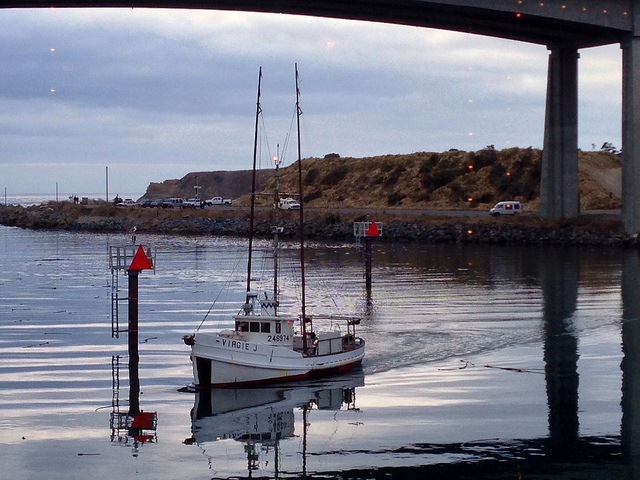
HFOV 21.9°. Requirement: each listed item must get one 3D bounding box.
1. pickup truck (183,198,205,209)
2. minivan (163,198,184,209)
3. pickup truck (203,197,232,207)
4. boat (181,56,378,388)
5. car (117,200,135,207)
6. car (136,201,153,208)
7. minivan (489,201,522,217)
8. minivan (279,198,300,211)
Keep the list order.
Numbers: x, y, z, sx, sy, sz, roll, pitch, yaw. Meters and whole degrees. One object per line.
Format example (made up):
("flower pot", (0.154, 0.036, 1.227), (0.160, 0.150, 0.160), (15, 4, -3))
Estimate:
("pickup truck", (-14.843, -4.358, 196.870), (1.322, 0.877, 2.117), (-2, -4, 27))
("minivan", (-16.829, -4.345, 195.985), (2.000, 1.004, 1.135), (4, -5, -44))
("pickup truck", (-12.432, -4.769, 204.731), (3.335, 0.967, 1.400), (0, 1, -5))
("boat", (-2.301, -0.374, 99.320), (5.266, 17.951, 15.282), (5, 4, 39))
("car", (-23.266, -4.395, 201.356), (1.163, 0.881, 1.973), (-1, -5, 11))
("car", (-21.166, -4.343, 201.428), (1.629, 1.049, 2.499), (-2, 3, -38))
("minivan", (17.614, -2.902, 155.507), (2.409, 1.055, 1.575), (0, 1, 0))
("minivan", (-3.207, -3.815, 178.245), (1.538, 1.154, 2.731), (-2, 2, -36))
